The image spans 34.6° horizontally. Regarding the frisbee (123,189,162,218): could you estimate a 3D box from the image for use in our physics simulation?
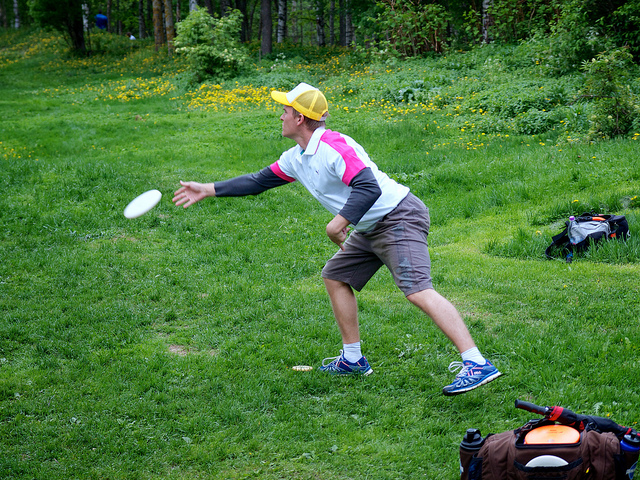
[{"bbox_3d":[-3.598,-0.701,20.786,0.707,0.522,0.500,-3,13,-10],"label":"frisbee"}]

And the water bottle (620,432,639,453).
[{"bbox_3d":[5.650,3.684,18.828,0.335,0.349,0.321,-5,14,-36],"label":"water bottle"}]

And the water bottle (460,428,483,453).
[{"bbox_3d":[2.805,3.724,19.046,0.335,0.386,0.462,0,2,15],"label":"water bottle"}]
